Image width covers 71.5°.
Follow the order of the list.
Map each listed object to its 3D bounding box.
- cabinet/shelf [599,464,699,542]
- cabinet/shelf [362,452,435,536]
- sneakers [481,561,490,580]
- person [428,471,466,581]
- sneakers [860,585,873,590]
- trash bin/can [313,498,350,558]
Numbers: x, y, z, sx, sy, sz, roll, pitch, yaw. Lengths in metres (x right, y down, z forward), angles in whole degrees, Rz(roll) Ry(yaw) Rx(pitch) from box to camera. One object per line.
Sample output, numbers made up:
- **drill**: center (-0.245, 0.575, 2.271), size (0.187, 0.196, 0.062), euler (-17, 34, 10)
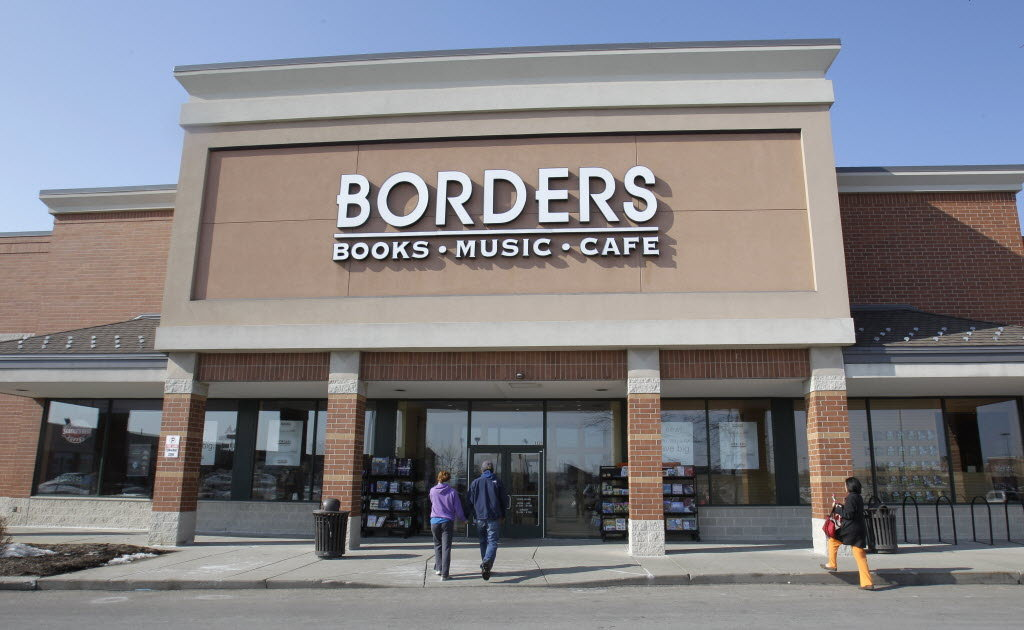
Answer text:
- **cabinet/shelf**: center (4.581, 6.276, 23.491), size (3.598, 2.430, 1.279), euler (0, -14, 2)
- **cabinet/shelf**: center (-4.182, 6.561, 25.653), size (3.919, 3.141, 1.177), euler (0, -10, -2)
- **sneakers**: center (-0.693, 6.576, 18.346), size (0.177, 0.458, 0.192), euler (-7, 6, 0)
- **person**: center (-1.790, 5.574, 18.999), size (0.773, 2.723, 1.015), euler (0, -18, -4)
- **sneakers**: center (8.690, 6.698, 17.585), size (0.303, 0.121, 0.239), euler (-13, -20, 36)
- **trash bin/can**: center (-5.479, 6.408, 21.632), size (1.597, 1.846, 1.496), euler (2, -10, -13)
